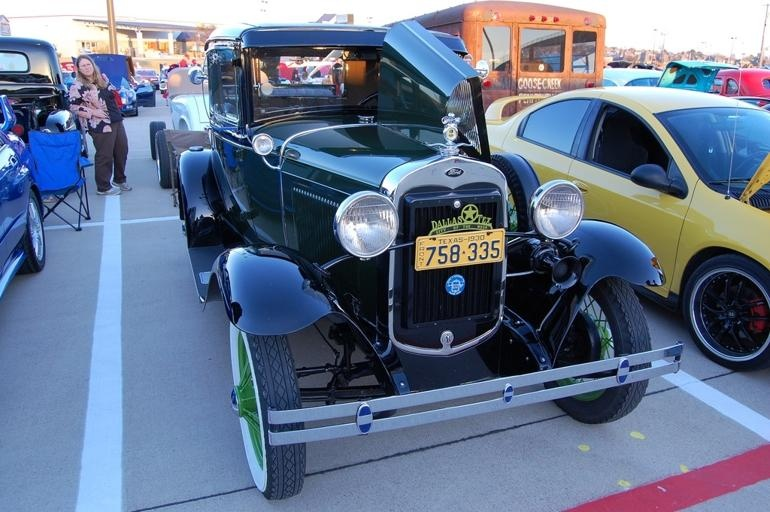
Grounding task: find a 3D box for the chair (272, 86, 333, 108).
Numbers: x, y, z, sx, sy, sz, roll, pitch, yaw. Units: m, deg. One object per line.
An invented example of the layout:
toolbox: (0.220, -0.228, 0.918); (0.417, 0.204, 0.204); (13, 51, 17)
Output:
chair: (-0.797, -1.505, 4.933); (0.634, 0.211, 0.220); (-6, 34, -16)
